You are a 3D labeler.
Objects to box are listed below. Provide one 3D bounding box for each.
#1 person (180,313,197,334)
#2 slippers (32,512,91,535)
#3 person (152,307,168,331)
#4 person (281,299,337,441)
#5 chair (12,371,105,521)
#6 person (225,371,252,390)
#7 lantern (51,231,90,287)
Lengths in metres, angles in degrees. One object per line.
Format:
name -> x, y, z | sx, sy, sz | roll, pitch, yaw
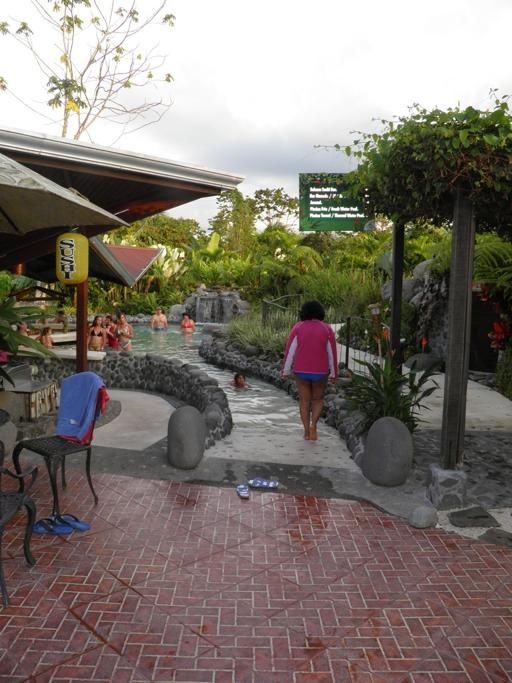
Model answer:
person -> -3.270, -0.882, 22.628 | 0.604, 0.947, 2.044 | 1, 2, -9
slippers -> -1.424, 1.331, 3.407 | 0.362, 0.071, 0.301 | 3, 2, 39
person -> -4.693, -1.081, 22.901 | 0.630, 1.095, 0.785 | 0, 2, -40
person -> 0.694, 0.390, 5.990 | 0.671, 1.805, 0.511 | 2, 2, 9
chair -> -1.586, 0.856, 3.805 | 0.743, 1.137, 0.730 | 1, -1, 7
person -> -0.394, 0.905, 10.857 | 0.319, 0.352, 0.965 | -1, 0, -4
lantern -> -1.810, -0.835, 4.633 | 0.282, 0.506, 0.295 | 1, 2, -23
